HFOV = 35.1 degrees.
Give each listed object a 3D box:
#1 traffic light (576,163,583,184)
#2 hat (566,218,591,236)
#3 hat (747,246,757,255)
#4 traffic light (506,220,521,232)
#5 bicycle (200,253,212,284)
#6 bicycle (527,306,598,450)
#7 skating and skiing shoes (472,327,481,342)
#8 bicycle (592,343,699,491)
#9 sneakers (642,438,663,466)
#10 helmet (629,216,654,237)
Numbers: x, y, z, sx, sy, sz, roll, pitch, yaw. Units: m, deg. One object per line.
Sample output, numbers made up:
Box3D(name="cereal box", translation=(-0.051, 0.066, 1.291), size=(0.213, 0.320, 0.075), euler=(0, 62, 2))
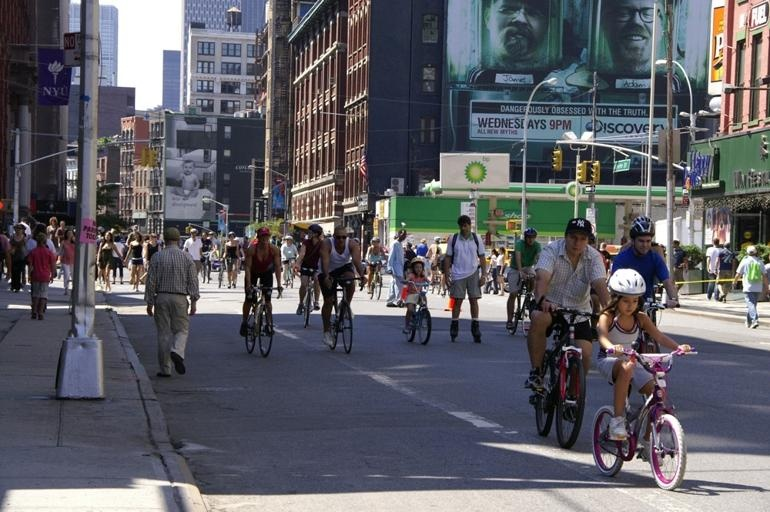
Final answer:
Box3D(name="traffic light", translation=(7.574, -3.248, 46.842), size=(0.273, 0.684, 1.101), euler=(1, 3, 9))
Box3D(name="hat", translation=(2.668, -0.407, 16.606), size=(0.414, 0.229, 0.335), euler=(3, 3, 28))
Box3D(name="hat", translation=(9.999, -0.167, 33.044), size=(0.172, 0.248, 0.237), euler=(1, 27, 4))
Box3D(name="traffic light", translation=(6.545, -1.544, 61.712), size=(0.989, 0.759, 1.042), euler=(1, 2, 3))
Box3D(name="bicycle", translation=(-8.070, 0.484, 54.656), size=(0.812, 1.099, 1.713), euler=(1, -1, -9))
Box3D(name="bicycle", translation=(2.409, 1.631, 16.472), size=(0.651, 1.898, 1.353), euler=(1, 3, -4))
Box3D(name="skating and skiing shoes", translation=(1.983, 1.713, 25.868), size=(0.124, 0.268, 0.388), euler=(-1, -29, -6))
Box3D(name="bicycle", translation=(3.206, 1.989, 15.123), size=(1.291, 1.744, 0.377), euler=(4, 4, 42))
Box3D(name="sneakers", translation=(3.309, 2.400, 14.979), size=(0.147, 0.206, 0.459), euler=(0, -6, -5))
Box3D(name="helmet", translation=(3.855, -0.411, 18.143), size=(0.238, 0.360, 0.299), euler=(3, 43, 5))
